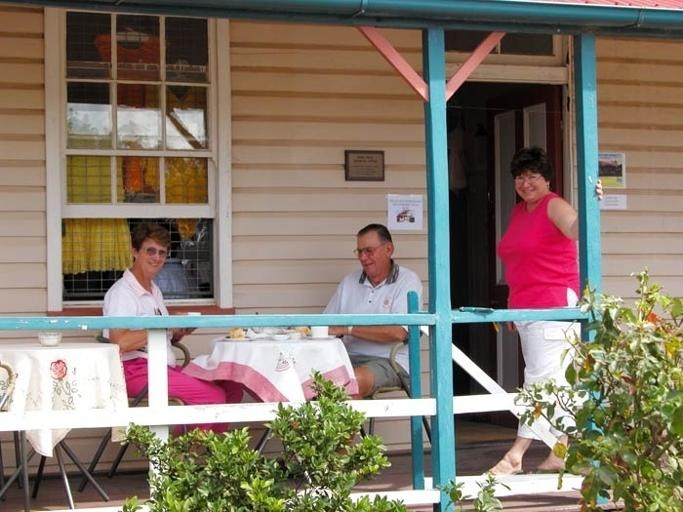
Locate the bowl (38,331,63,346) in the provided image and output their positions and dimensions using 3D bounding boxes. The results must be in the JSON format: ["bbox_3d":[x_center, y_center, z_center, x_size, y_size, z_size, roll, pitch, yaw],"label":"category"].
[{"bbox_3d":[-1.882,0.540,6.814,0.106,0.067,0.106,1,-1,0],"label":"bowl"}]

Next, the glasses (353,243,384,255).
[{"bbox_3d":[0.182,-0.036,7.889,0.103,0.076,0.256,-1,-4,-41],"label":"glasses"}]

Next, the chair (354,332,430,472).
[{"bbox_3d":[0.544,1.001,7.705,0.720,1.064,0.621,9,-12,-38],"label":"chair"}]

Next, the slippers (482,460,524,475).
[{"bbox_3d":[1.154,1.497,7.337,0.201,0.106,0.234,-4,-3,11],"label":"slippers"}]

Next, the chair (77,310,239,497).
[{"bbox_3d":[-1.664,1.203,8.328,1.308,1.820,1.086,1,-5,23],"label":"chair"}]
